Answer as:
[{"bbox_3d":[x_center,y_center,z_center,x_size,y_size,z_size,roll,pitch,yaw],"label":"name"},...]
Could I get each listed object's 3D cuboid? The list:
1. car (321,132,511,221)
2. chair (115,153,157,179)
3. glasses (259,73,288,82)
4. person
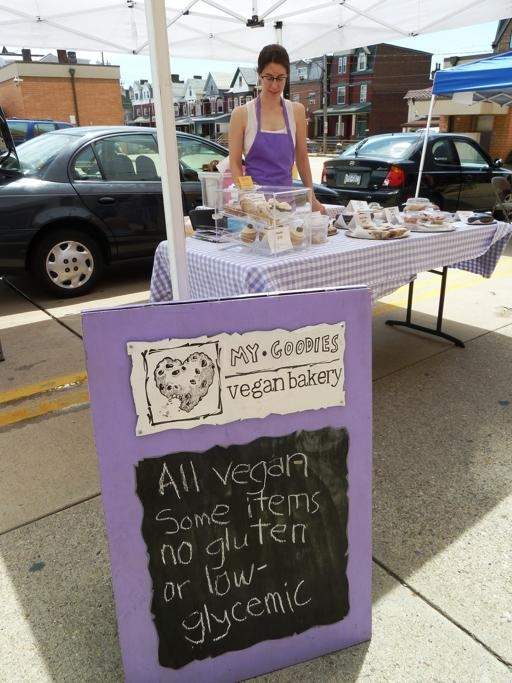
[{"bbox_3d":[2.395,-2.709,8.118,3.173,1.140,1.586,-17,26,-29],"label":"car"},{"bbox_3d":[-1.313,-1.916,5.734,0.314,0.414,0.355,0,28,3],"label":"chair"},{"bbox_3d":[0.094,-1.483,2.907,0.152,0.037,0.108,-2,28,-3],"label":"glasses"},{"bbox_3d":[0.045,-1.300,3.026,0.731,0.763,0.353,-26,38,-38],"label":"person"}]
